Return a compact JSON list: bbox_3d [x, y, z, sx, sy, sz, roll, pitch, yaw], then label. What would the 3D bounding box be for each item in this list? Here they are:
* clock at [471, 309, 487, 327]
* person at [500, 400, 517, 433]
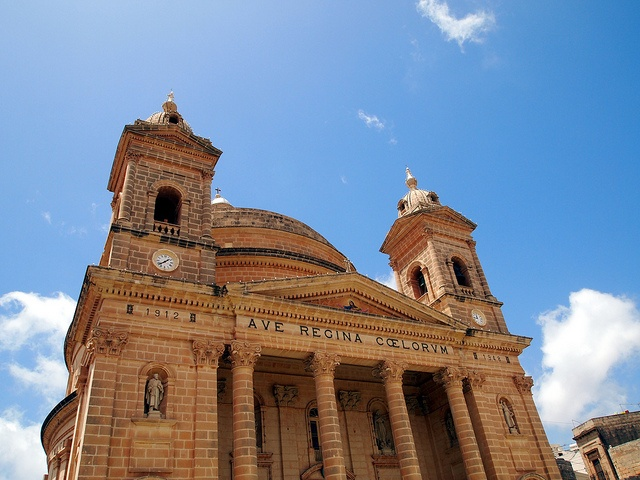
[{"bbox_3d":[9.735,4.769,34.287,0.903,0.944,0.197,3,-30,-43],"label":"clock"},{"bbox_3d":[10.541,9.868,31.068,0.919,1.948,0.256,26,-48,-31],"label":"person"}]
